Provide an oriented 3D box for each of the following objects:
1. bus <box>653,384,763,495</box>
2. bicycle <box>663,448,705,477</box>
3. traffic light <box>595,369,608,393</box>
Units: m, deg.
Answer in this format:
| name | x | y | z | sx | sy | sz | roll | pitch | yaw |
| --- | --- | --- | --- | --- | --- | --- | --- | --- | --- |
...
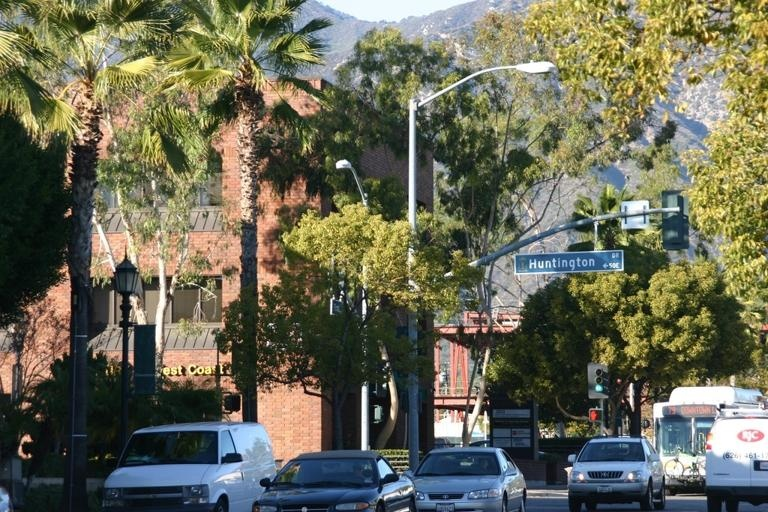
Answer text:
| name | x | y | z | sx | sy | sz | roll | pitch | yaw |
| --- | --- | --- | --- | --- | --- | --- | --- | --- | --- |
| bus | 12.723 | 7.318 | 86.521 | 2.083 | 3.503 | 7.210 | -2 | -8 | 19 |
| bicycle | 12.485 | 8.653 | 87.014 | 1.169 | 0.862 | 1.264 | -1 | -3 | 9 |
| traffic light | 8.851 | 5.153 | 85.650 | 0.440 | 1.138 | 0.572 | -4 | -12 | 12 |
